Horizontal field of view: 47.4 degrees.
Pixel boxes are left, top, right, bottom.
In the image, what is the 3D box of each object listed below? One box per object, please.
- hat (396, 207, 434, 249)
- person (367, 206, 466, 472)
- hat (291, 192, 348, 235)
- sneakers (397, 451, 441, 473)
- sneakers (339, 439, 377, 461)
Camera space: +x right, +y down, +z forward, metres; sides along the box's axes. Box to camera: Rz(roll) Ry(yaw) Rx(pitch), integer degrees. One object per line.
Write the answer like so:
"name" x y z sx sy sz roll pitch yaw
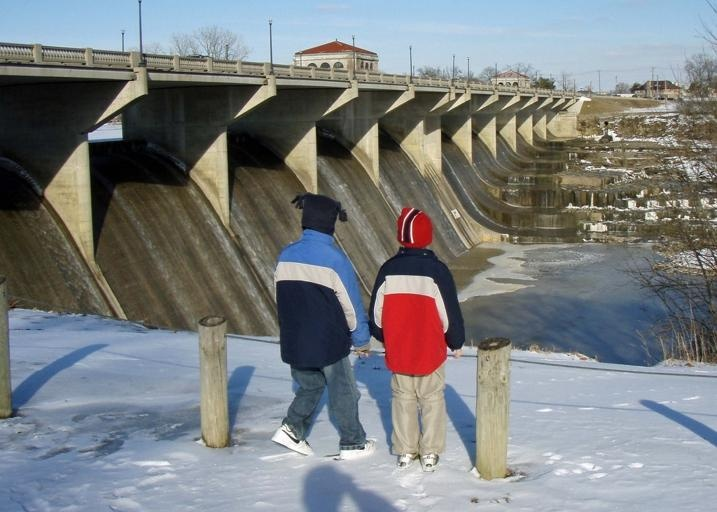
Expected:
"hat" 0.749 -0.403 10.681 0.470 0.484 0.529 6 17 21
"person" 0.734 1.063 10.509 1.167 3.287 0.677 5 11 15
"hat" -0.564 -0.550 10.791 0.688 0.491 0.515 3 3 -5
"sneakers" 0.770 2.644 10.489 0.409 0.143 0.244 3 34 -7
"sneakers" 0.003 2.570 10.870 0.532 0.231 0.193 -11 10 -39
